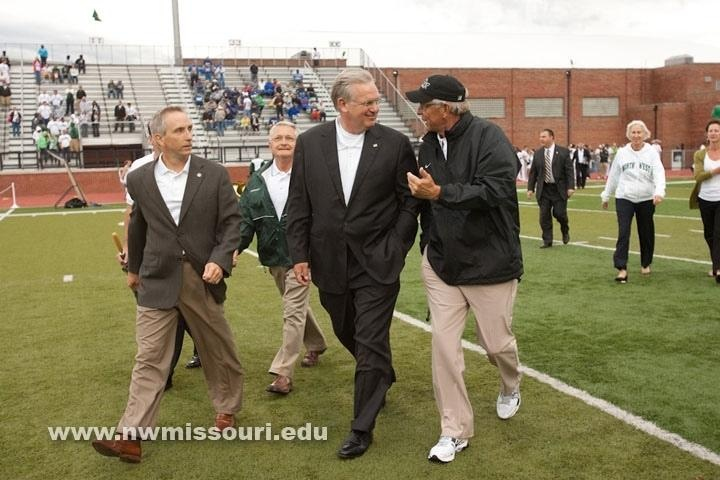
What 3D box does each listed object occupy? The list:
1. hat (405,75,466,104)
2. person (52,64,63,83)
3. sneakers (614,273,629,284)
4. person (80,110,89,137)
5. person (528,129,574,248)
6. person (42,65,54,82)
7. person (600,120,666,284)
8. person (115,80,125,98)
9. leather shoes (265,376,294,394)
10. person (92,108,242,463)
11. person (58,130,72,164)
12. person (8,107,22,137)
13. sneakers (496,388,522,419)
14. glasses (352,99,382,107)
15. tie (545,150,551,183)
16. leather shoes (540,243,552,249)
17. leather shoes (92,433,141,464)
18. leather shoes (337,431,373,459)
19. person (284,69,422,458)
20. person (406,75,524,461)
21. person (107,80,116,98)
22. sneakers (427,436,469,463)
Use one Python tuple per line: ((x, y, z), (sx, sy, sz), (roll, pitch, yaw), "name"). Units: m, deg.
((0.577, -1.076, 4.017), (0.359, 0.150, 0.236), (2, 15, -1), "hat")
((-20.390, -10.962, 36.263), (0.711, 1.059, 0.743), (-8, 13, -25), "person")
((3.965, 0.589, 8.218), (0.104, 0.146, 0.336), (-5, -9, 41), "sneakers")
((-15.902, -6.518, 31.111), (0.370, 1.449, 1.178), (-6, 12, -16), "person")
((4.060, -1.087, 11.566), (0.887, 2.451, 1.332), (1, 12, 18), "person")
((-21.056, -11.037, 36.235), (0.629, 1.057, 0.954), (-9, 13, -28), "person")
((4.222, -0.597, 8.380), (0.831, 2.379, 1.489), (3, 13, 28), "person")
((-15.918, -9.824, 35.644), (0.481, 1.350, 2.150), (-7, 12, -21), "person")
((-0.755, 1.310, 4.862), (0.272, 0.181, 0.106), (16, -24, -21), "leather shoes")
((-1.404, 0.263, 4.104), (1.066, 2.462, 0.678), (-9, 13, -26), "person")
((-15.756, -4.806, 28.765), (0.598, 1.523, 0.631), (-6, 12, -17), "person")
((-19.699, -6.517, 30.845), (0.623, 1.552, 0.989), (-9, 13, -29), "person")
((1.194, 1.300, 4.341), (0.132, 0.099, 0.255), (-19, 11, 32), "sneakers")
((0.061, -1.030, 4.087), (0.230, 0.077, 0.083), (-11, 14, -39), "glasses")
((3.963, -1.521, 11.402), (0.179, 0.689, 0.094), (1, 12, 18), "tie")
((3.892, 0.148, 11.282), (0.284, 0.116, 0.091), (2, 1, -17), "leather shoes")
((-1.722, 1.491, 3.849), (0.266, 0.243, 0.175), (-3, 11, -1), "leather shoes")
((-0.038, 1.476, 3.889), (0.119, 0.108, 0.294), (-9, -12, 30), "leather shoes")
((-0.011, 0.094, 4.230), (0.907, 2.723, 0.905), (-12, 15, -39), "person")
((0.721, 0.135, 4.057), (0.992, 2.668, 0.645), (-13, 15, -40), "person")
((-16.252, -9.659, 35.234), (0.570, 1.117, 0.692), (-8, 13, -24), "person")
((0.609, 1.473, 3.789), (0.281, 0.123, 0.125), (15, -24, -43), "sneakers")
